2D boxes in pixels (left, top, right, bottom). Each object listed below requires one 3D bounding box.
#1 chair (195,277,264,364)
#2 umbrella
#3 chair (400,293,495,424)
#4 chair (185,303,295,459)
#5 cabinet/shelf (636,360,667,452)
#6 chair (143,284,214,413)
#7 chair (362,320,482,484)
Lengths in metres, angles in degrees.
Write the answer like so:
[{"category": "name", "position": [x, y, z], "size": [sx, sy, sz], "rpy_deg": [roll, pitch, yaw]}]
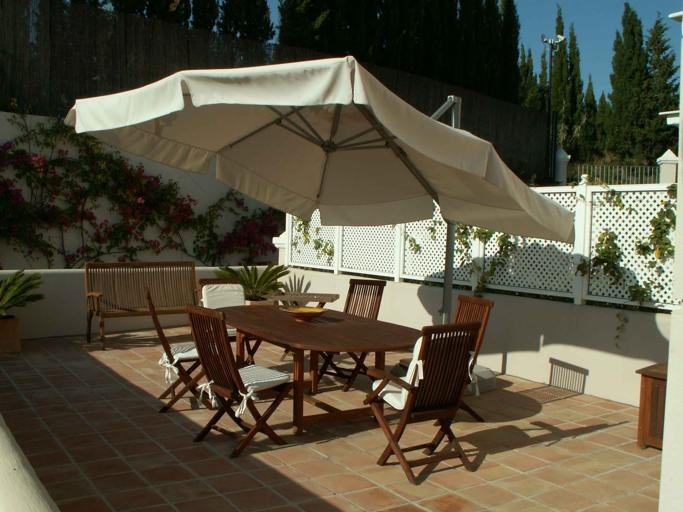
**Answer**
[{"category": "chair", "position": [-1.564, 0.849, 8.347], "size": [0.820, 1.588, 1.062], "rpy_deg": [-1, 2, -27]}, {"category": "umbrella", "position": [-0.175, -0.991, 6.458], "size": [4.551, 1.527, 3.233], "rpy_deg": [5, 7, 10]}, {"category": "chair", "position": [1.376, 1.030, 6.954], "size": [0.983, 1.648, 0.850], "rpy_deg": [-1, 0, -24]}, {"category": "chair", "position": [-0.990, 1.184, 6.176], "size": [0.740, 1.523, 0.802], "rpy_deg": [10, 13, 44]}, {"category": "cabinet/shelf", "position": [3.194, 1.574, 6.456], "size": [0.297, 0.804, 0.368], "rpy_deg": [6, 8, 28]}, {"category": "chair", "position": [-1.792, 1.061, 7.075], "size": [0.846, 1.361, 0.716], "rpy_deg": [-3, 6, -34]}, {"category": "chair", "position": [0.816, 1.308, 6.002], "size": [0.824, 1.607, 0.946], "rpy_deg": [-4, 9, -35]}]
